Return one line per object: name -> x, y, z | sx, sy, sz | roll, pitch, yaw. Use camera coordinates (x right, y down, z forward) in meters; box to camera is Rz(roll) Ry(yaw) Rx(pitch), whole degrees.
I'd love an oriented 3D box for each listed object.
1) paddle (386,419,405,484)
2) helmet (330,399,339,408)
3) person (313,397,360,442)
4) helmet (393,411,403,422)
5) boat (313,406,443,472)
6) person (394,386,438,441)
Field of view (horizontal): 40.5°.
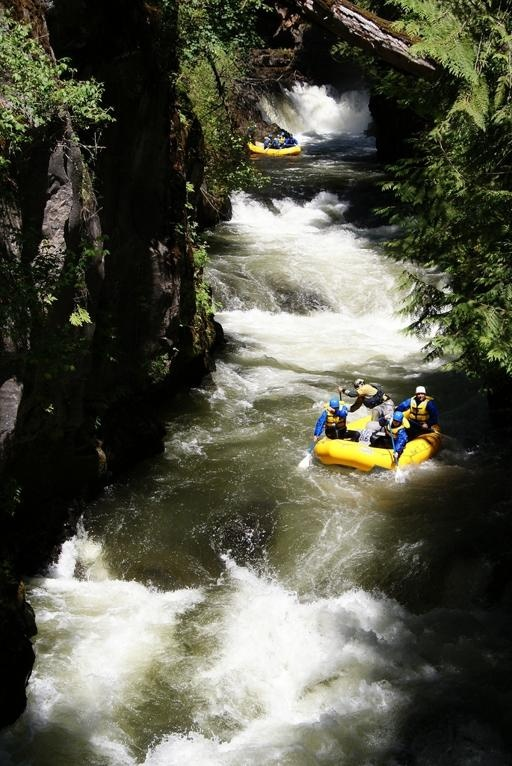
paddle -> 2.276, 1.001, 11.086 | 0.265, 0.276, 0.963 | 11, 50, 1
helmet -> 1.307, 0.326, 11.529 | 0.120, 0.123, 0.141 | 2, 32, -3
person -> 1.351, 0.629, 11.803 | 0.788, 0.718, 1.279 | 1, -10, 14
helmet -> 2.321, 0.547, 11.337 | 0.137, 0.141, 0.185 | 22, 17, 14
boat -> 2.076, 1.129, 11.353 | 2.090, 0.438, 0.861 | -4, 17, -14
person -> 2.770, 0.460, 11.862 | 0.713, 0.850, 0.725 | 21, 33, 36
